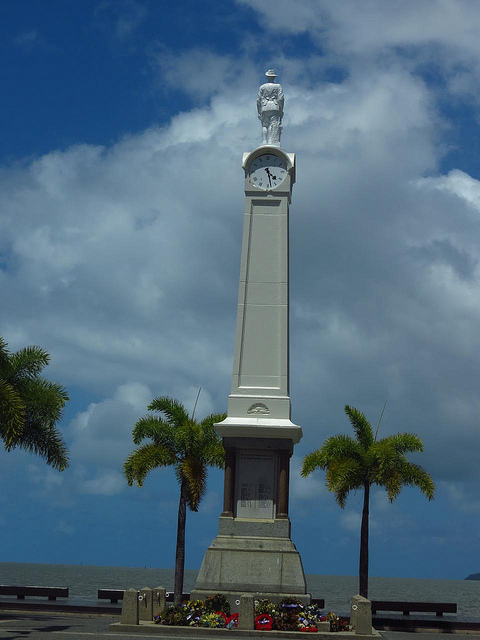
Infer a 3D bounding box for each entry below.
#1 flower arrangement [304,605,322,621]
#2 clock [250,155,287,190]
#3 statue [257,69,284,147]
[{"bbox_3d":[2.091,8.453,26.329,0.258,0.474,0.287,-6,16,13],"label":"flower arrangement"},{"bbox_3d":[1.053,-5.414,33.656,1.465,1.311,0.184,3,-13,0],"label":"clock"},{"bbox_3d":[1.181,-8.200,35.285,1.108,3.164,0.754,3,3,12],"label":"statue"}]
